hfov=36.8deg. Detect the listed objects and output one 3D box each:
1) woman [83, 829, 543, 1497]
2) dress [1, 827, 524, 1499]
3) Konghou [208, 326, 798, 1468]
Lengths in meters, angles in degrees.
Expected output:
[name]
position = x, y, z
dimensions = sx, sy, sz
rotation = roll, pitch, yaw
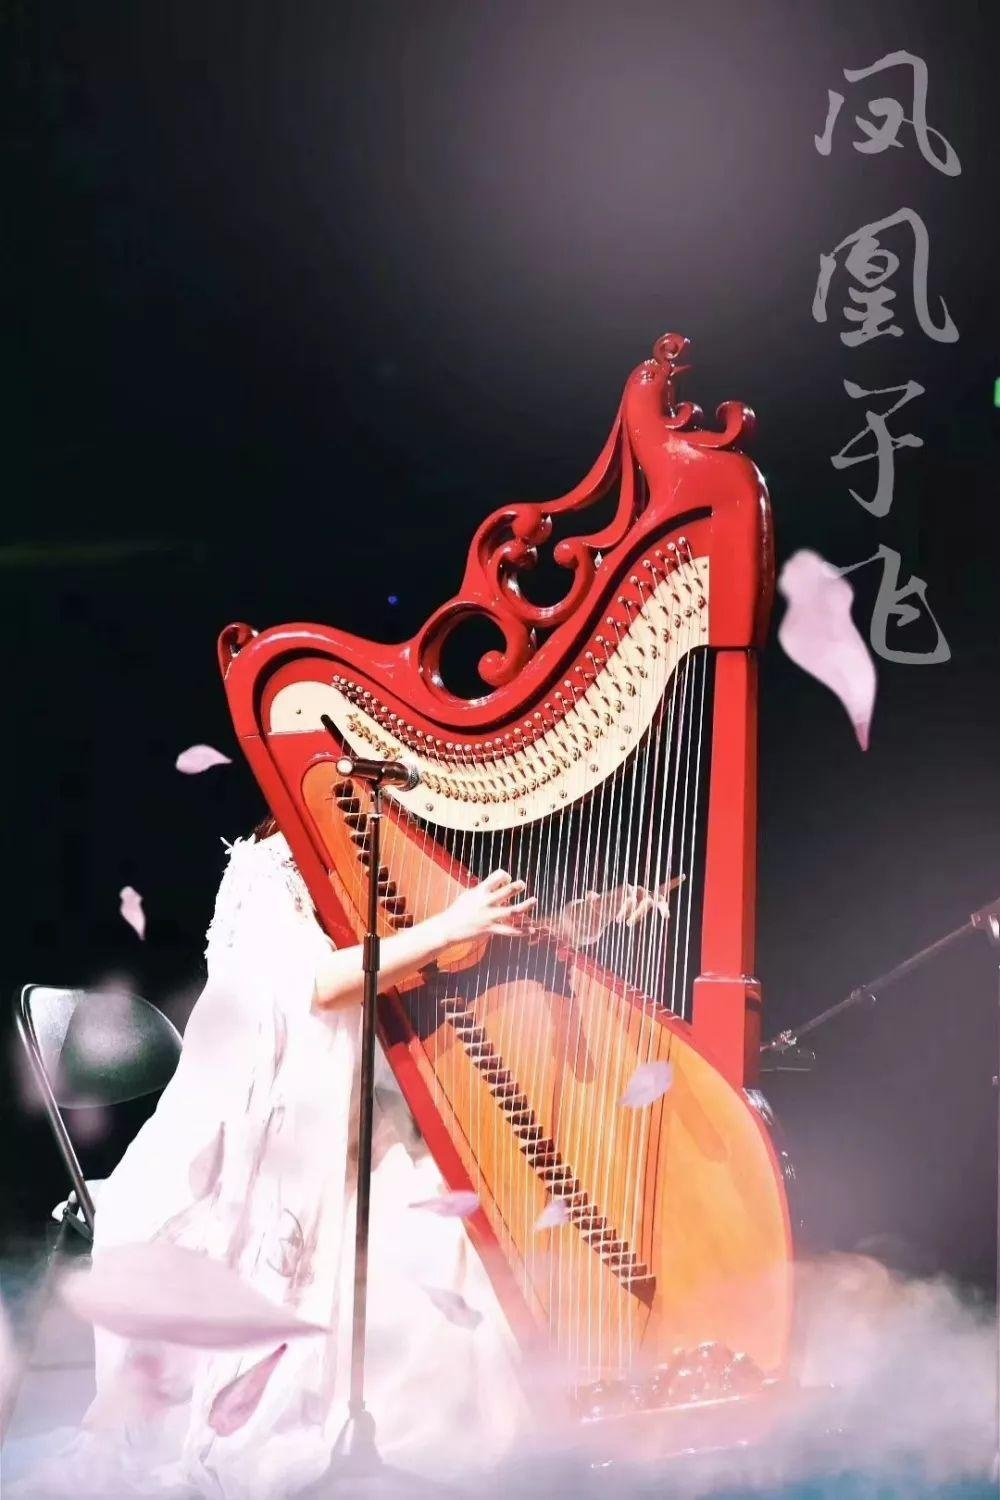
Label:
[woman]
position = -0.175, 0.470, 1.846
dimensions = 0.496, 0.703, 0.218
rotation = 9, -9, 26
[dress]
position = -0.206, 0.623, 2.209
dimensions = 0.767, 1.062, 0.630
rotation = -8, -17, 26
[Konghou]
position = 0.046, 0.126, 1.728
dimensions = 0.504, 1.164, 0.803
rotation = -5, 0, -22
